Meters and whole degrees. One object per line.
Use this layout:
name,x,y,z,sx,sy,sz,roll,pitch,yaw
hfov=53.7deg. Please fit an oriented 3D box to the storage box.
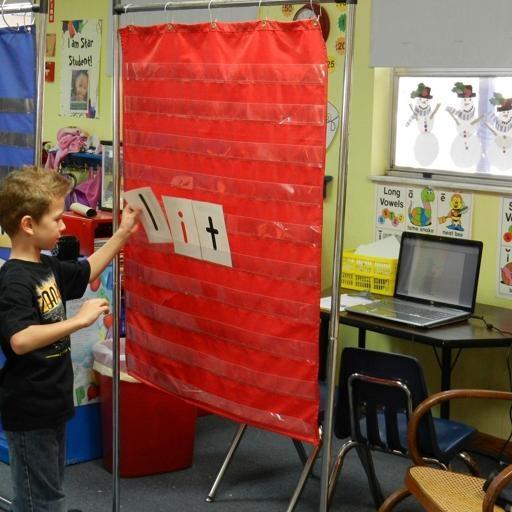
storage box,-0.490,0.855,2.610,0.374,0.448,0.367,18,-22,-34

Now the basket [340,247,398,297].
basket,0.678,0.043,3.013,0.264,0.202,0.288,5,8,30

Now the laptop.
laptop,0.841,0.099,2.682,0.487,0.451,0.586,1,4,-24
